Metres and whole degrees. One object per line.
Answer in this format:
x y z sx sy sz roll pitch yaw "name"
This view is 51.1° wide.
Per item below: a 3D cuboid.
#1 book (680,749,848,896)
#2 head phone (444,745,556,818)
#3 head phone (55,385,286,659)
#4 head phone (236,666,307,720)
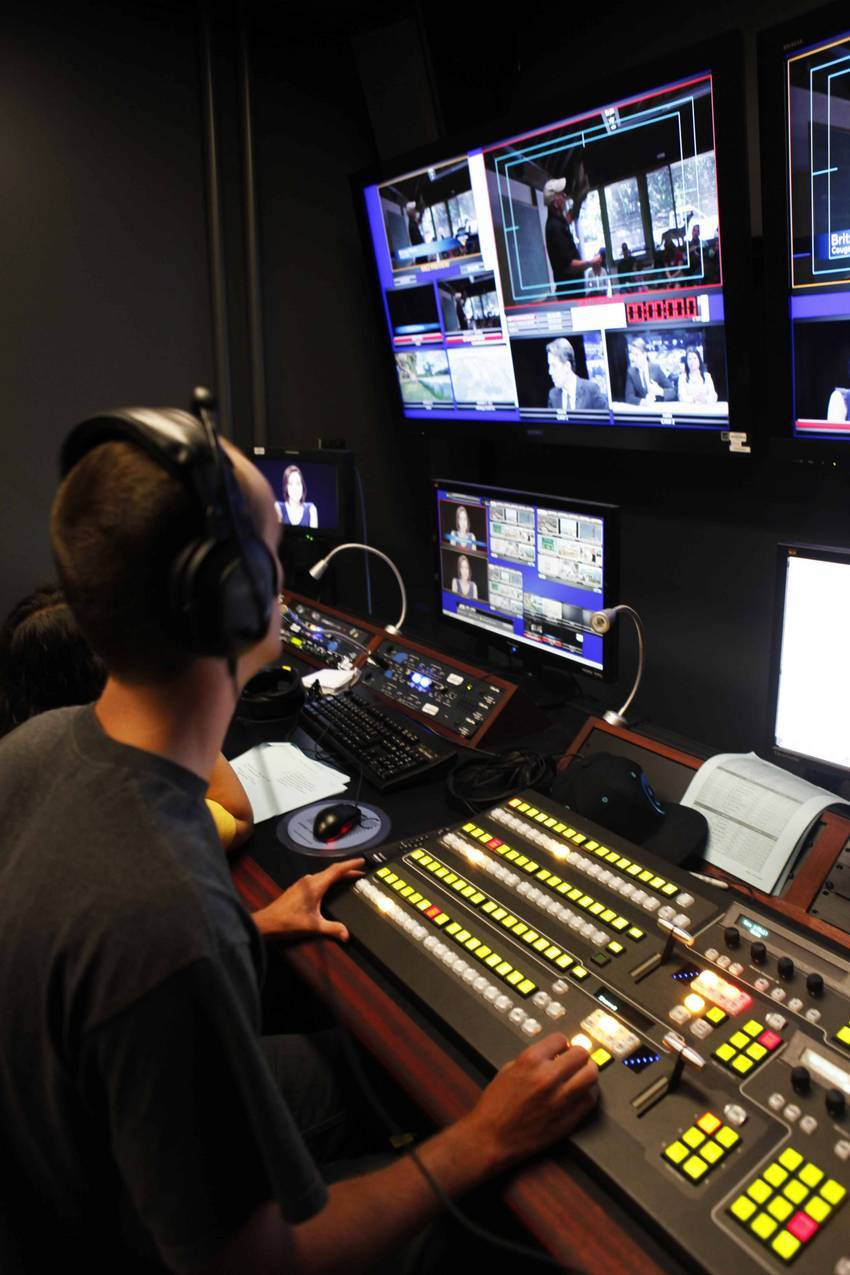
0.456 0.244 1.233 0.174 0.096 0.220 -14 13 -21 "book"
0.129 0.231 1.483 0.125 0.036 0.099 -17 26 -12 "head phone"
-0.199 -0.090 0.729 0.142 0.197 0.241 -14 13 -24 "head phone"
-0.311 0.095 1.813 0.097 0.043 0.116 21 40 41 "head phone"
